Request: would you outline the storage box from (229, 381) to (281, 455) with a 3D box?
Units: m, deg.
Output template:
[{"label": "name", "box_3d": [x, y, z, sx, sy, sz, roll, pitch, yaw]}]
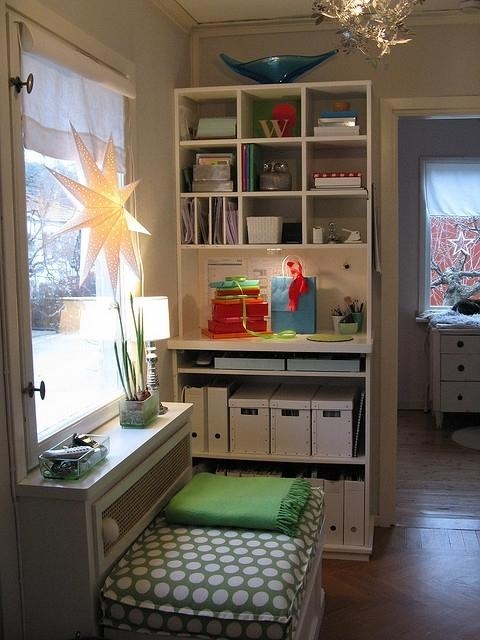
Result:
[{"label": "storage box", "box_3d": [0.038, 0.537, 2.830, 0.210, 0.265, 0.386, 0, -5, 1]}]

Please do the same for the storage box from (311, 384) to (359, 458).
[{"label": "storage box", "box_3d": [0.480, 0.573, 2.724, 0.218, 0.264, 0.385, -1, -21, 11]}]

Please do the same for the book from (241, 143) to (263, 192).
[{"label": "book", "box_3d": [0.050, -0.734, 2.598, 0.073, 0.211, 0.223, 1, 11, 11]}]

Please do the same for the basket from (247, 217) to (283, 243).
[{"label": "basket", "box_3d": [0.116, -0.432, 2.602, 0.155, 0.103, 0.120, 0, 3, 8]}]

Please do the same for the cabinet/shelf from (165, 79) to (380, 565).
[{"label": "cabinet/shelf", "box_3d": [0.155, 0.008, 2.668, 1.002, 2.171, 0.500, 0, 8, 7]}]

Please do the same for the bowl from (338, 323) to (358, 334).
[{"label": "bowl", "box_3d": [0.535, 0.036, 2.662, 0.062, 0.037, 0.062, -2, 2, 0]}]

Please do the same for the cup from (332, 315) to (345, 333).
[{"label": "cup", "box_3d": [0.494, 0.022, 2.761, 0.075, 0.078, 0.072, 0, 3, 0]}]
